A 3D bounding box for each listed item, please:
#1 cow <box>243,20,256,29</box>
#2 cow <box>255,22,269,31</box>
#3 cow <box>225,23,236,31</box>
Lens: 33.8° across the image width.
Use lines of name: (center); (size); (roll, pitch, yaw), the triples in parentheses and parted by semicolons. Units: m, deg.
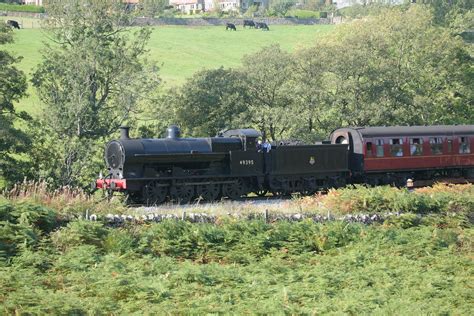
cow: (2.357, -24.709, 143.907); (1.791, 1.705, 2.588); (-5, 7, -32)
cow: (4.641, -23.956, 142.319); (2.270, 1.324, 1.175); (-3, 6, -17)
cow: (-1.105, -23.855, 141.797); (1.799, 1.472, 2.713); (0, 6, 13)
